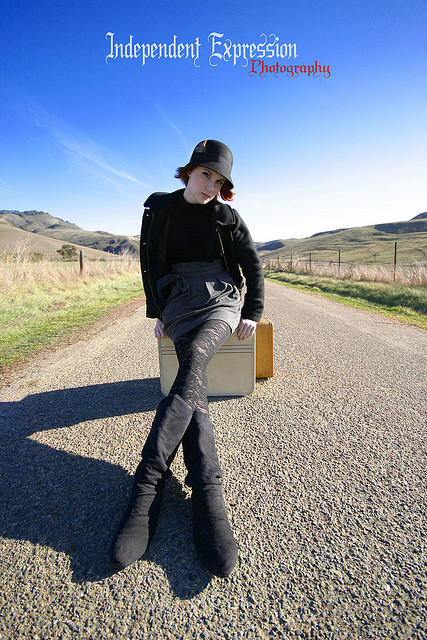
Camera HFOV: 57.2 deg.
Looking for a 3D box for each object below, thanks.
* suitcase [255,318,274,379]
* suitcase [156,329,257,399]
[{"bbox_3d":[0.421,0.268,3.239,0.146,0.526,0.358,2,10,9],"label":"suitcase"},{"bbox_3d":[-0.048,0.510,2.972,0.740,0.462,0.569,1,44,-9],"label":"suitcase"}]
